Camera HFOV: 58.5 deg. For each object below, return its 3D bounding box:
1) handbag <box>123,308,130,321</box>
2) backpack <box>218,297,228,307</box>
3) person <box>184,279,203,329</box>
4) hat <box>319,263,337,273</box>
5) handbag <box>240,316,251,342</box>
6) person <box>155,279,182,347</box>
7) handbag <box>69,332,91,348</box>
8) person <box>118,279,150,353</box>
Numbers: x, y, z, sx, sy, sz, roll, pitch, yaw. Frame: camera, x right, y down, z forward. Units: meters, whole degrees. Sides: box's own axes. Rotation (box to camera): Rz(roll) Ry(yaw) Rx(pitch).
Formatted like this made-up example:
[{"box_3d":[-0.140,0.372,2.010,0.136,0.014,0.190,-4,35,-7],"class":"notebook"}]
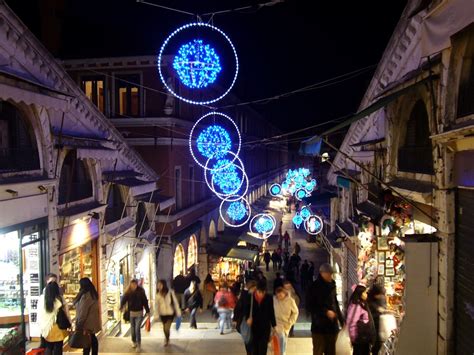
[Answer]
[{"box_3d":[-3.015,3.782,11.588,0.194,0.295,0.280,1,-17,-4],"class":"handbag"},{"box_3d":[-0.459,4.082,13.888,0.336,0.359,0.166,3,-18,-13],"class":"backpack"},{"box_3d":[-1.559,4.473,15.007,0.554,1.686,0.807,1,-18,-7],"class":"person"},{"box_3d":[1.991,1.977,9.274,0.238,0.247,0.415,-14,-23,32],"class":"hat"},{"box_3d":[0.193,3.324,9.330,0.170,0.575,0.488,3,-19,-22],"class":"handbag"},{"box_3d":[-1.956,3.775,11.819,0.679,1.770,0.886,1,-18,-8],"class":"person"},{"box_3d":[-3.761,3.873,10.102,0.309,0.383,0.141,4,3,3],"class":"handbag"},{"box_3d":[-2.795,3.712,11.459,0.745,1.801,0.688,11,-21,-33],"class":"person"}]
